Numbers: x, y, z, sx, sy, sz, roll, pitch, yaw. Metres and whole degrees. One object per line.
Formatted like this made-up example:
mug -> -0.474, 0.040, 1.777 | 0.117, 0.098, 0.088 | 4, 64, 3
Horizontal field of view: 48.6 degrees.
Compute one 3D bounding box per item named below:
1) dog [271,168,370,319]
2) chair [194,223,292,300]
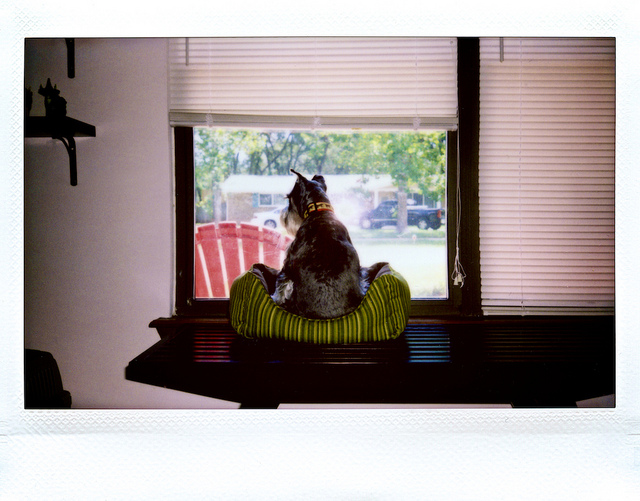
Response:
dog -> 0.001, 0.000, 2.830 | 0.392, 0.436, 0.775 | 0, 25, -12
chair -> -0.332, 0.029, 3.253 | 0.361, 0.496, 0.342 | 4, -16, 8
